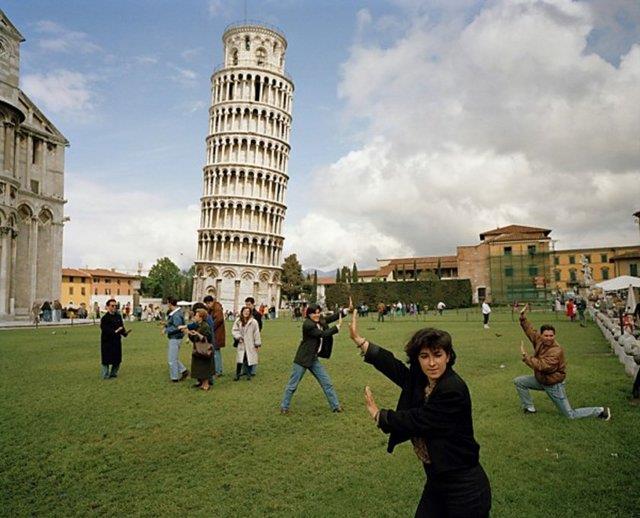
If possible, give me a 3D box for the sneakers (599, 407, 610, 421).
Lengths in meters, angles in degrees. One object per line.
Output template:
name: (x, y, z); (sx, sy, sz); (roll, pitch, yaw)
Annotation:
sneakers: (5.192, 2.812, 8.513); (0.075, 0.186, 0.185); (14, 5, -39)
